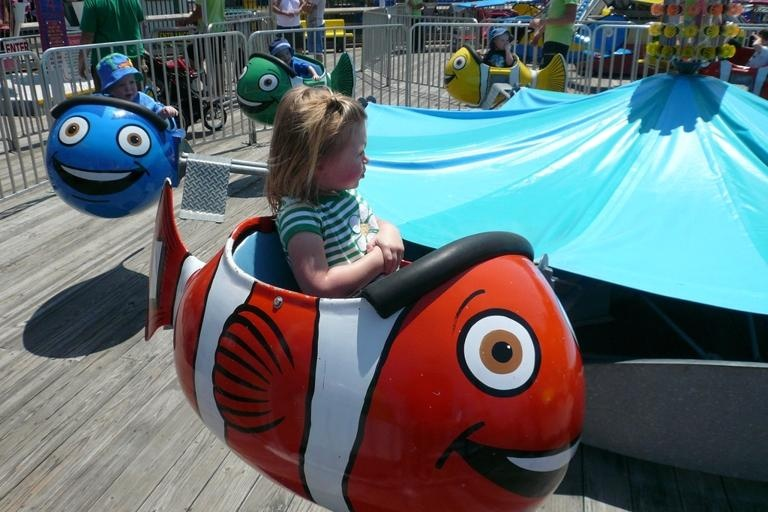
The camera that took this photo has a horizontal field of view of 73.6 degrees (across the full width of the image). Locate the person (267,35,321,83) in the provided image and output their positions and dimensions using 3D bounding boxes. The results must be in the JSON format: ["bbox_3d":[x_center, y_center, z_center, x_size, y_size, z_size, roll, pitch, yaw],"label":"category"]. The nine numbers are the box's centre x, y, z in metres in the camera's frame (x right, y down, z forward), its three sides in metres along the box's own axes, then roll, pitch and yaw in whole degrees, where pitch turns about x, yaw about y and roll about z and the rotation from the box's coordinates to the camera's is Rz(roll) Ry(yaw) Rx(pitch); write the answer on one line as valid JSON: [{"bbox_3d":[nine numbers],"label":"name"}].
[{"bbox_3d":[-0.886,-2.007,5.192,0.516,0.298,0.989,-5,27,-15],"label":"person"}]

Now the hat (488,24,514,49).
[{"bbox_3d":[1.654,-3.084,7.248,0.332,0.254,0.271,-11,28,-26],"label":"hat"}]

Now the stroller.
[{"bbox_3d":[-2.876,-2.391,7.094,1.145,1.242,0.767,-9,21,-21],"label":"stroller"}]
